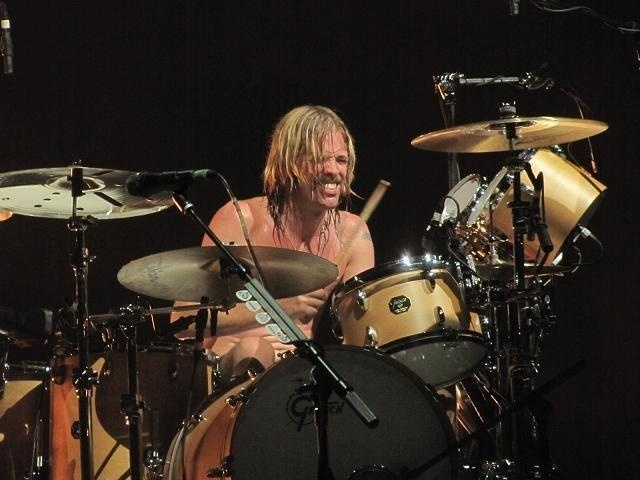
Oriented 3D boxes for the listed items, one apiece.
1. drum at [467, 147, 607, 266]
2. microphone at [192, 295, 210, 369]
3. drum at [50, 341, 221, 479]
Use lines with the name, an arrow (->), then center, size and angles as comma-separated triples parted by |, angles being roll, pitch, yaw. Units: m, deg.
drum -> 1.419, -0.232, 5.948 | 0.577, 0.635, 0.763 | 35, 19, 30
microphone -> -0.637, 0.492, 5.178 | 0.074, 0.394, 0.093 | -9, -16, 41
drum -> -1.108, 1.085, 5.769 | 0.861, 0.766, 0.800 | 2, -24, -8
